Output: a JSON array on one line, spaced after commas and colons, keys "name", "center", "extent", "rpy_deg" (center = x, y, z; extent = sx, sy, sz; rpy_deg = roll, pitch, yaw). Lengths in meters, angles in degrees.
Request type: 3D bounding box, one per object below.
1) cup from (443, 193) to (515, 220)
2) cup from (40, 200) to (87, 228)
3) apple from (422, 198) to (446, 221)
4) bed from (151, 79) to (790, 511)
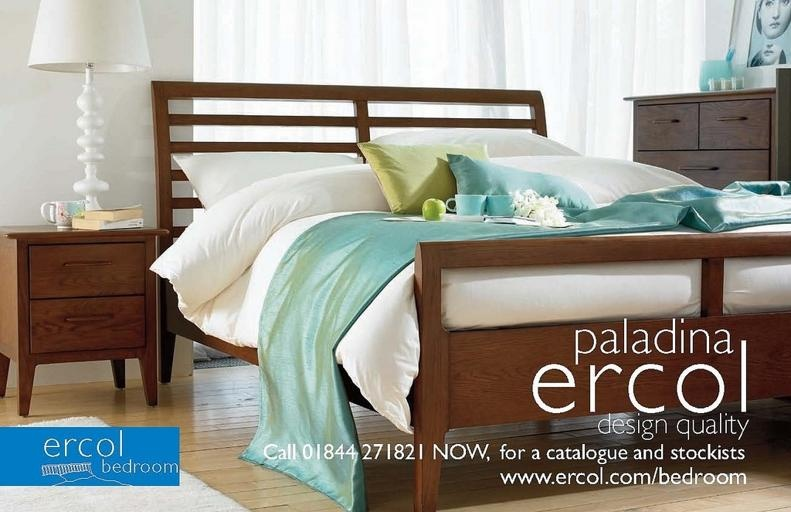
[{"name": "cup", "center": [0.315, -0.177, 2.503], "extent": [0.184, 0.074, 0.115], "rpy_deg": [-1, 0, 24]}, {"name": "cup", "center": [-1.518, -0.199, 3.110], "extent": [0.256, 0.150, 0.186], "rpy_deg": [-2, 4, -27]}, {"name": "apple", "center": [0.143, -0.179, 2.526], "extent": [0.088, 0.081, 0.092], "rpy_deg": [11, 13, 41]}, {"name": "bed", "center": [0.029, -0.037, 3.045], "extent": [2.486, 1.405, 2.470], "rpy_deg": [-2, 4, -21]}]
